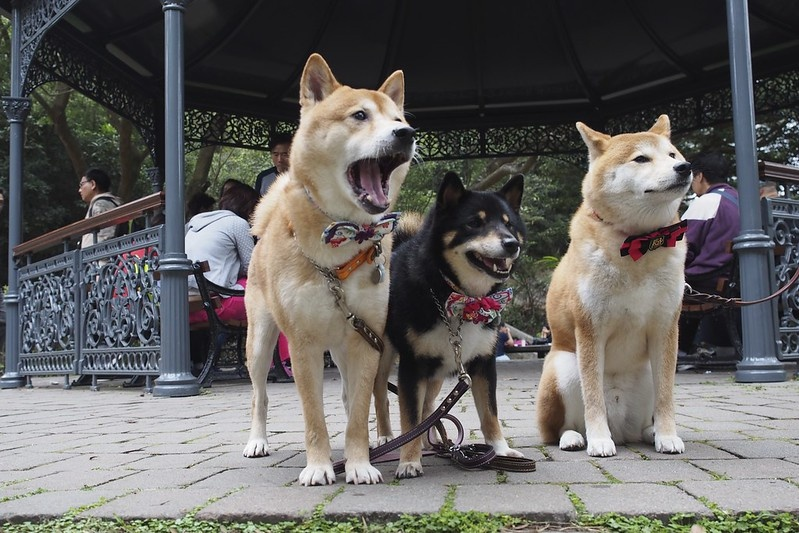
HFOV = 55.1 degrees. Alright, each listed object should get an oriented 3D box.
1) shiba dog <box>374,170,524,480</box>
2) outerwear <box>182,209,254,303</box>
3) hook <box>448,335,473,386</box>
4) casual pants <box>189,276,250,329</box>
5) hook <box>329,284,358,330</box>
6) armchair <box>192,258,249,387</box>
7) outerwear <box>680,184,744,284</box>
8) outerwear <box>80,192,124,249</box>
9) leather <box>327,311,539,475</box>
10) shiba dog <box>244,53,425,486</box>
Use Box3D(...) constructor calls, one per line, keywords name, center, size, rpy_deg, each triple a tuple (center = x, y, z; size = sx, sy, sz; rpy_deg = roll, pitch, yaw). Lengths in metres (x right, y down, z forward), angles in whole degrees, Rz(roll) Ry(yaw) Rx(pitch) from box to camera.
Box3D(name="shiba dog", center=(0.198, 0.495, 6.837), size=(1.092, 2.292, 2.750), rpy_deg=(1, -3, -20))
Box3D(name="outerwear", center=(-2.389, -0.133, 10.257), size=(0.911, 1.142, 0.917), rpy_deg=(7, -19, -45))
Box3D(name="hook", center=(0.475, 0.723, 6.105), size=(0.110, 0.522, 0.151), rpy_deg=(-9, 3, 16))
Box3D(name="casual pants", center=(-2.300, 0.476, 9.887), size=(0.652, 0.597, 0.681), rpy_deg=(-1, -2, 28))
Box3D(name="hook", center=(-0.447, 0.288, 5.970), size=(0.133, 0.445, 0.079), rpy_deg=(-31, 8, 1))
Box3D(name="armchair", center=(-2.353, 0.768, 9.888), size=(0.712, 1.568, 1.352), rpy_deg=(0, -6, -13))
Box3D(name="outerwear", center=(3.767, -0.336, 9.199), size=(1.232, 1.057, 0.695), rpy_deg=(-1, -1, -42))
Box3D(name="outerwear", center=(-4.222, -0.676, 10.817), size=(0.498, 1.003, 1.413), rpy_deg=(1, -6, -22))
Box3D(name="leather", center=(0.212, 1.268, 6.495), size=(1.912, 0.994, 0.586), rpy_deg=(-10, -13, 25))
Box3D(name="shiba dog", center=(-0.572, -0.025, 6.126), size=(1.597, 3.413, 0.631), rpy_deg=(-5, -7, 31))
